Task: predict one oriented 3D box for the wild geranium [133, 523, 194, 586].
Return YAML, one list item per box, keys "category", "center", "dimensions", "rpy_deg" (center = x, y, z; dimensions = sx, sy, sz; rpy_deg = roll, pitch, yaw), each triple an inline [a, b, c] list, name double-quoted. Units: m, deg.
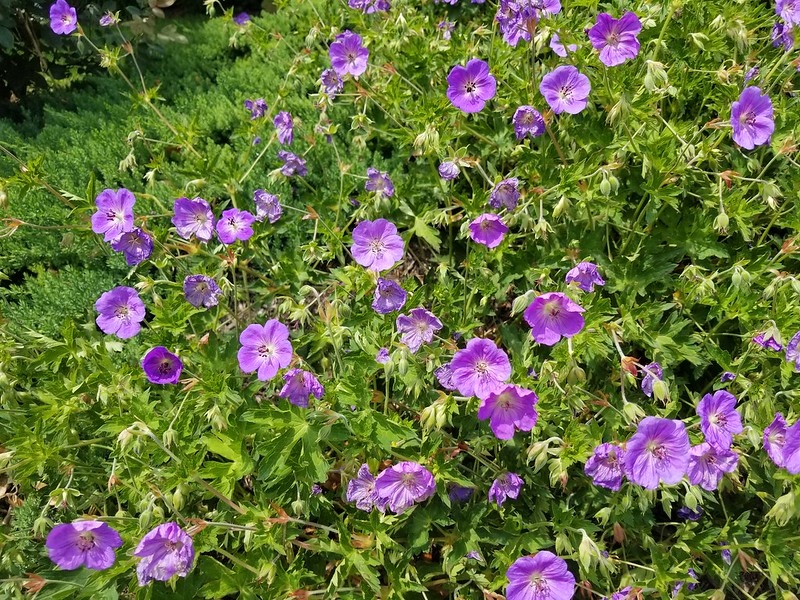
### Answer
- category: "wild geranium"
  center: [-1.191, 1.278, 3.793]
  dimensions: [0.285, 0.274, 0.240]
  rpy_deg: [-10, 67, 0]
